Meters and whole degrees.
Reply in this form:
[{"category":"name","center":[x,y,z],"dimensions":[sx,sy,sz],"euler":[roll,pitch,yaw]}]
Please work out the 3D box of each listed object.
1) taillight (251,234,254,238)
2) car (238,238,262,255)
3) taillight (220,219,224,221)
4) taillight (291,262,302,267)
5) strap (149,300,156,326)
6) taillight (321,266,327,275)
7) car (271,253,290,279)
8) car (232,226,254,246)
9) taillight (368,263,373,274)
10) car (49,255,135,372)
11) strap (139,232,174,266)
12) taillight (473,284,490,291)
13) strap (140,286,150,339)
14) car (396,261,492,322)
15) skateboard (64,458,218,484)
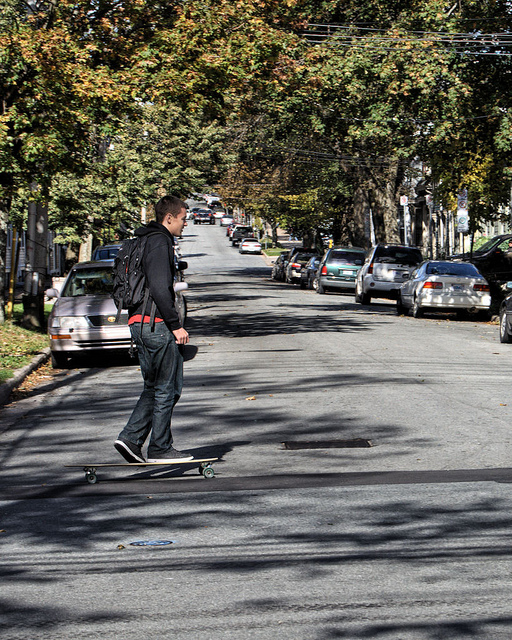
[{"category":"taillight","center":[-0.338,-8.222,96.232],"dimensions":[0.319,0.261,0.076],"euler":[3,10,44]},{"category":"car","center":[-0.628,-6.827,90.892],"dimensions":[2.011,1.179,4.007],"euler":[1,8,-3]},{"category":"taillight","center":[-4.559,-13.167,128.794],"dimensions":[0.489,0.159,0.301],"euler":[2,-1,-27]},{"category":"taillight","center":[1.972,-2.674,47.597],"dimensions":[0.522,0.172,0.188],"euler":[2,1,8]},{"category":"strap","center":[-0.721,-0.041,6.737],"dimensions":[0.037,0.150,0.016],"euler":[3,1,-3]},{"category":"taillight","center":[2.510,-1.797,35.505],"dimensions":[0.284,0.288,0.245],"euler":[2,0,-3]},{"category":"car","center":[1.269,-2.865,52.616],"dimensions":[1.095,0.739,1.673],"euler":[0,6,-1]},{"category":"car","center":[-1.327,-8.500,97.370],"dimensions":[1.472,1.371,2.694],"euler":[0,10,-2]},{"category":"taillight","center":[3.376,-1.504,28.531],"dimensions":[0.134,0.294,0.139],"euler":[3,1,6]},{"category":"car","center":[-2.619,-0.023,15.267],"dimensions":[1.522,1.287,3.152],"euler":[-2,1,-7]},{"category":"strap","center":[-0.657,-0.502,6.767],"dimensions":[0.289,0.229,0.194],"euler":[7,1,7]},{"category":"taillight","center":[5.330,-0.746,22.823],"dimensions":[0.269,0.088,0.180],"euler":[6,-2,-16]},{"category":"strap","center":[-0.773,-0.047,6.761],"dimensions":[0.048,0.366,0.051],"euler":[9,1,14]},{"category":"car","center":[4.659,-0.712,23.491],"dimensions":[1.920,1.365,1.706],"euler":[3,1,5]},{"category":"skateboard","center":[-0.828,1.107,7.101],"dimensions":[1.178,0.129,0.227],"euler":[-1,1,-4]}]
